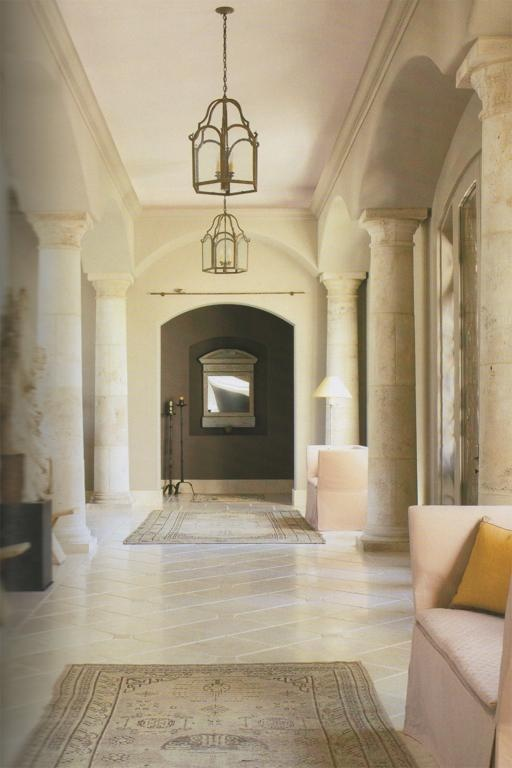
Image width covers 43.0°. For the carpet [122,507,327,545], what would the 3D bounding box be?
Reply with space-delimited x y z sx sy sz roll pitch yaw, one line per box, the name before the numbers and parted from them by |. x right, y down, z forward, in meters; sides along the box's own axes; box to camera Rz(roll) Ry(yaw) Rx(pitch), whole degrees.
carpet | -0.375 1.770 8.144 2.168 0.077 2.855 1 -5 -3

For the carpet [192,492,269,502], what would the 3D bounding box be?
carpet | -0.446 1.987 11.384 1.243 0.035 1.270 1 -5 -7

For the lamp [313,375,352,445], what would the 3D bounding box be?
lamp | 1.118 0.390 9.281 0.475 0.927 1.651 0 -5 8

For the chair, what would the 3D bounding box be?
chair | 0.991 1.274 7.933 0.589 0.962 0.900 1 -5 -4
